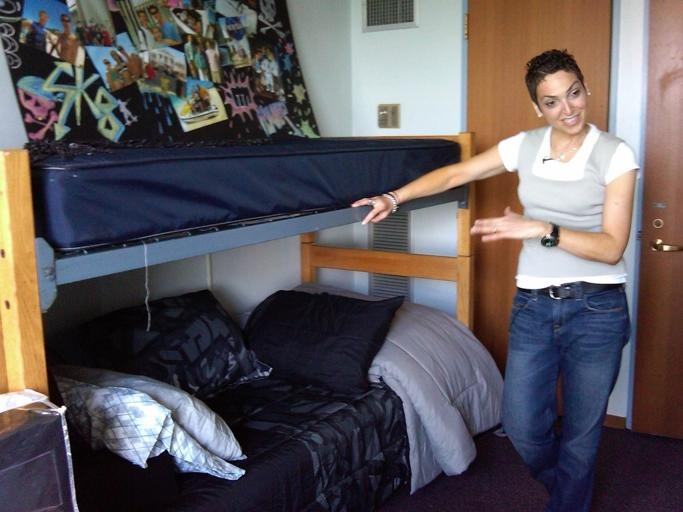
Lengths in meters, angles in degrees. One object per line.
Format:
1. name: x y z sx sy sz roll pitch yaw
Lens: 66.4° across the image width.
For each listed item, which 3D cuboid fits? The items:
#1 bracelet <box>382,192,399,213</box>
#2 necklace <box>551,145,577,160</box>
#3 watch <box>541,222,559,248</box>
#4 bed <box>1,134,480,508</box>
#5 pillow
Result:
1. bracelet: 0.205 -0.222 2.143 0.056 0.086 0.080 -21 34 -27
2. necklace: 0.771 -0.347 1.798 0.073 0.043 0.026 1 11 21
3. watch: 0.669 -0.065 1.653 0.070 0.073 0.047 -25 28 -37
4. bed: -0.290 -0.018 2.424 1.110 1.050 2.647 6 14 41
5. pillow: -0.463 0.401 2.374 0.730 0.247 0.702 5 21 37
